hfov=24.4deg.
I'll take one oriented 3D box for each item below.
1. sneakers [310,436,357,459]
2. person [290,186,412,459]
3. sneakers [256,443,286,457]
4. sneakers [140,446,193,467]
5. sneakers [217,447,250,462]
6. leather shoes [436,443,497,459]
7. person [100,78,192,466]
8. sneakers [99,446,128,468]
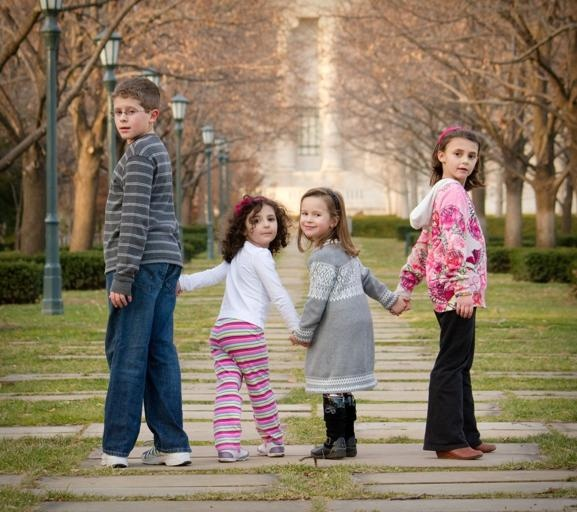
[{"bbox_3d":[0.409,1.571,11.220,0.318,0.157,0.174,-2,-3,40],"label":"sneakers"},{"bbox_3d":[0.449,0.540,11.301,0.820,2.189,0.657,1,9,4],"label":"person"},{"bbox_3d":[-0.137,1.611,11.341,0.092,0.121,0.239,-2,4,-39],"label":"sneakers"},{"bbox_3d":[-1.009,1.658,11.213,0.414,0.202,0.158,3,-2,11],"label":"sneakers"},{"bbox_3d":[-0.449,1.619,11.212,0.103,0.132,0.268,5,6,39],"label":"sneakers"},{"bbox_3d":[1.526,1.613,11.198,0.529,0.098,0.200,-2,10,-18],"label":"leather shoes"},{"bbox_3d":[-1.170,0.339,11.134,0.732,2.696,0.681,0,9,-5],"label":"person"},{"bbox_3d":[-1.422,1.627,11.007,0.157,0.190,0.404,2,1,-10],"label":"sneakers"}]
